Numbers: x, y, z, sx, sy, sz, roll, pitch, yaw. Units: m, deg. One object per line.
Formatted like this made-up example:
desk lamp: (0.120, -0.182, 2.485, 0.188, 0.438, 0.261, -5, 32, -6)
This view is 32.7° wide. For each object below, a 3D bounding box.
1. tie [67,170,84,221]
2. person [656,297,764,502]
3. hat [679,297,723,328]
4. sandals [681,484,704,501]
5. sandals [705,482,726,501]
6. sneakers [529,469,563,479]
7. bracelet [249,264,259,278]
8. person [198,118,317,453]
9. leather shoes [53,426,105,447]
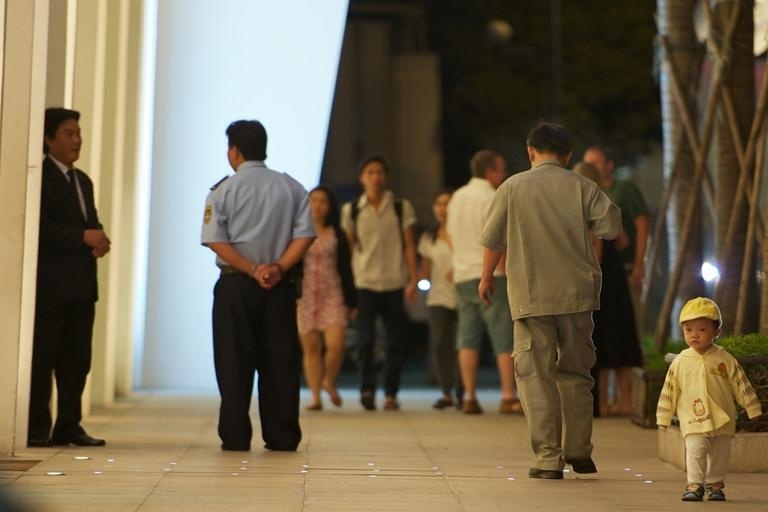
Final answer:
tie: (-2.594, -0.557, 11.169, 0.059, 0.522, 0.082, -5, 10, 44)
person: (2.383, 1.021, 9.666, 0.724, 1.023, 0.346, -4, -2, 15)
hat: (2.327, 0.400, 9.682, 0.283, 0.149, 0.226, -4, -2, 8)
sandals: (2.246, 1.688, 9.539, 0.170, 0.084, 0.077, -4, -2, 12)
sandals: (2.420, 1.692, 9.590, 0.069, 0.084, 0.213, 0, 5, 8)
sneakers: (1.238, 1.635, 10.072, 0.186, 0.089, 0.099, 5, -4, 19)
bracelet: (-1.075, 0.109, 10.932, 0.055, 0.078, 0.085, 24, 43, 12)
person: (-1.042, 0.217, 11.040, 0.903, 2.791, 0.344, -3, -2, -5)
leather shoes: (-2.581, 1.504, 11.110, 0.493, 0.208, 0.169, 0, -1, -7)
